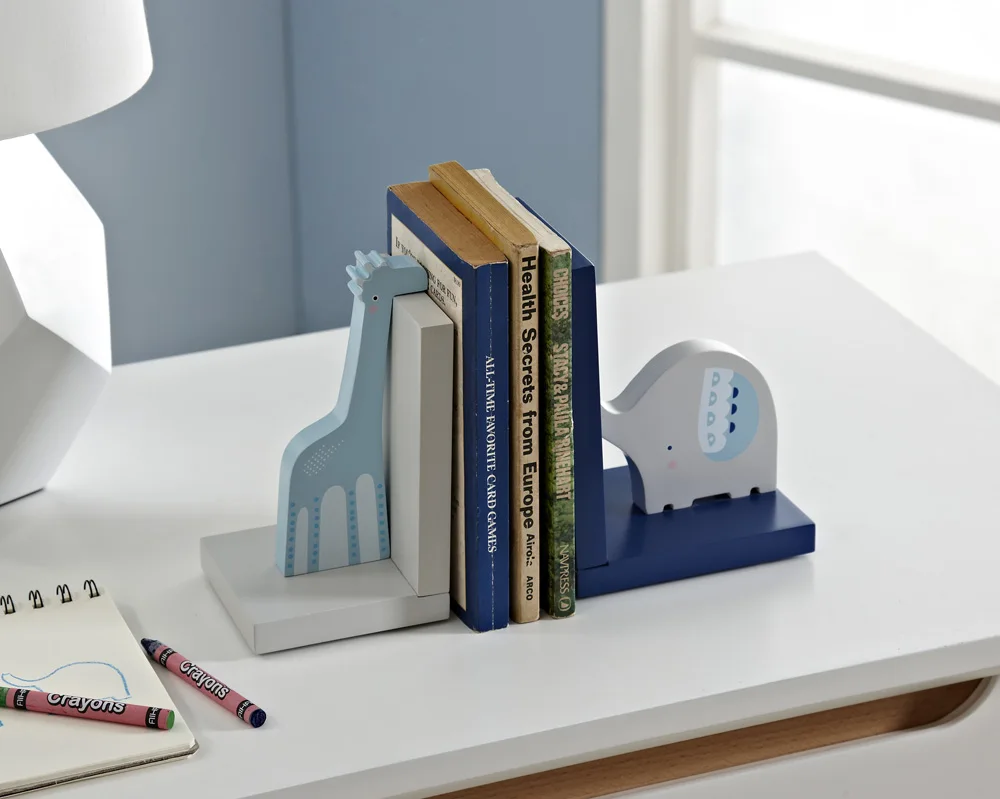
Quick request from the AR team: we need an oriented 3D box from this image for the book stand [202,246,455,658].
[{"bbox_3d":[-0.143,-0.007,0.934,0.247,0.421,0.252,-4,18,-18],"label":"book stand"}]
